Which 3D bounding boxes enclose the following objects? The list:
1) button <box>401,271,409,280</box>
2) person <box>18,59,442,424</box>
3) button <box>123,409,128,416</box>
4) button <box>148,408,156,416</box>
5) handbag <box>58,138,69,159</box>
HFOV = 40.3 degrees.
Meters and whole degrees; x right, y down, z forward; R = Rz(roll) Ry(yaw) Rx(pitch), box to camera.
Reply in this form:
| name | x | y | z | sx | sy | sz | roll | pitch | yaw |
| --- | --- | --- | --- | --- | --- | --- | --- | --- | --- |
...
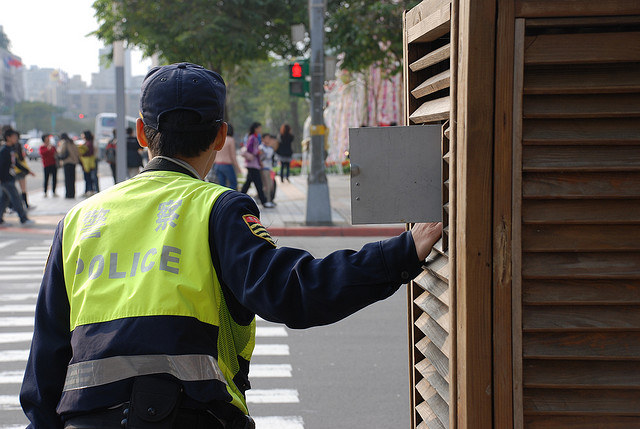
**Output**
| name | x | y | z | sx | sy | sz | roll | pitch | yaw |
| --- | --- | --- | --- | --- | --- | --- | --- | --- | --- |
| button | 0.315 | 0.221 | 3.137 | 0.026 | 0.027 | 0.006 | -11 | 0 | -15 |
| person | -0.452 | 0.129 | 3.296 | 1.459 | 1.419 | 0.496 | 1 | 7 | 5 |
| button | -0.705 | 0.729 | 3.157 | 0.018 | 0.024 | 0.006 | 4 | 8 | 27 |
| button | -0.607 | 0.724 | 3.147 | 0.027 | 0.026 | 0.008 | -1 | 7 | -11 |
| handbag | -5.557 | -1.453 | 18.868 | 0.186 | 0.442 | 0.369 | -2 | 7 | -16 |
